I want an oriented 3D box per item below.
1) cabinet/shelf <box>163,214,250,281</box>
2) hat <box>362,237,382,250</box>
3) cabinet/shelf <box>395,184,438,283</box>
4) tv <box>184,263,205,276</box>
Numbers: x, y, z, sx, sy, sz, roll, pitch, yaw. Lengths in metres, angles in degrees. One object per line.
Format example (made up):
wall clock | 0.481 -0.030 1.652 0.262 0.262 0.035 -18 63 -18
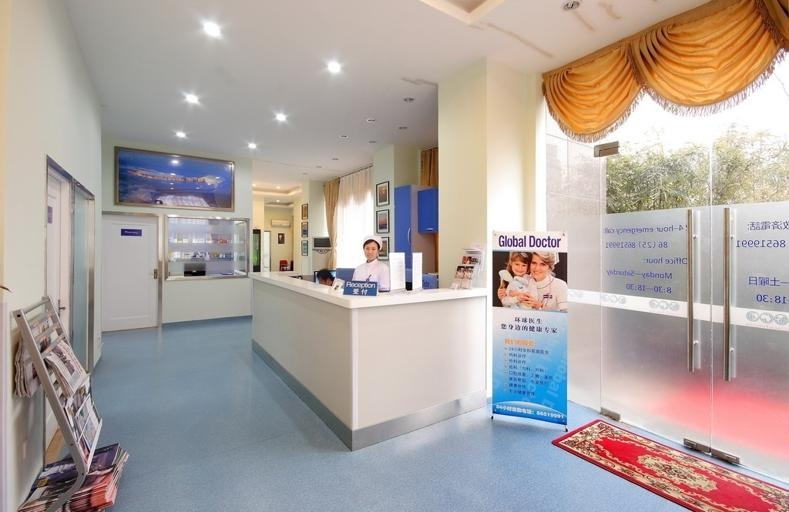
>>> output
cabinet/shelf | -3.780 -0.153 10.296 1.634 1.280 0.553 0 2 -9
hat | -0.288 -0.163 6.533 0.170 0.207 0.117 1 9 0
cabinet/shelf | 0.344 -0.322 8.304 0.708 1.691 0.609 -1 3 1
tv | -3.950 0.252 9.911 0.411 0.297 0.220 1 -3 -42
